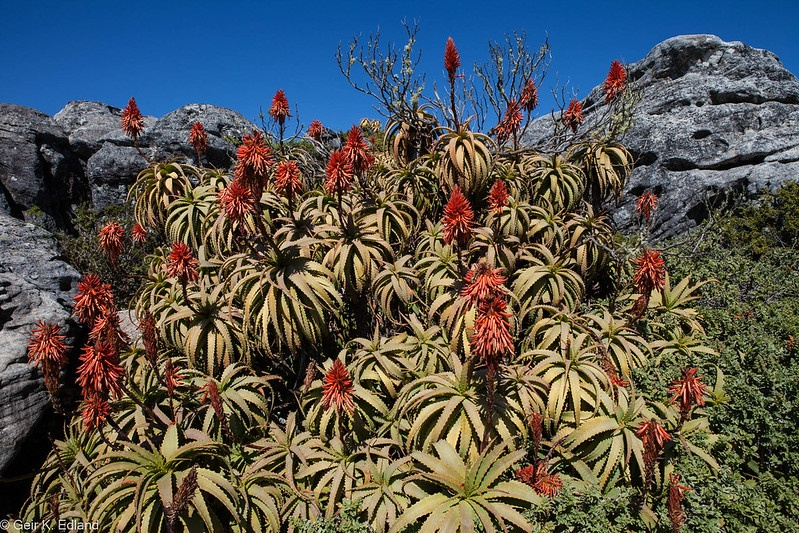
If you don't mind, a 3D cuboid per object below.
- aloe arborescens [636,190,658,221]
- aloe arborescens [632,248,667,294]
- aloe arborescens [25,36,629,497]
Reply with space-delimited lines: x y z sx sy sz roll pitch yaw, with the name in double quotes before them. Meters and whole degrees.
"aloe arborescens" 3.571 -0.859 8.709 0.229 0.468 0.805 4 8 21
"aloe arborescens" 3.051 0.072 7.406 0.334 0.554 0.496 4 8 21
"aloe arborescens" -0.120 1.476 9.971 6.738 7.191 3.823 17 -32 12
